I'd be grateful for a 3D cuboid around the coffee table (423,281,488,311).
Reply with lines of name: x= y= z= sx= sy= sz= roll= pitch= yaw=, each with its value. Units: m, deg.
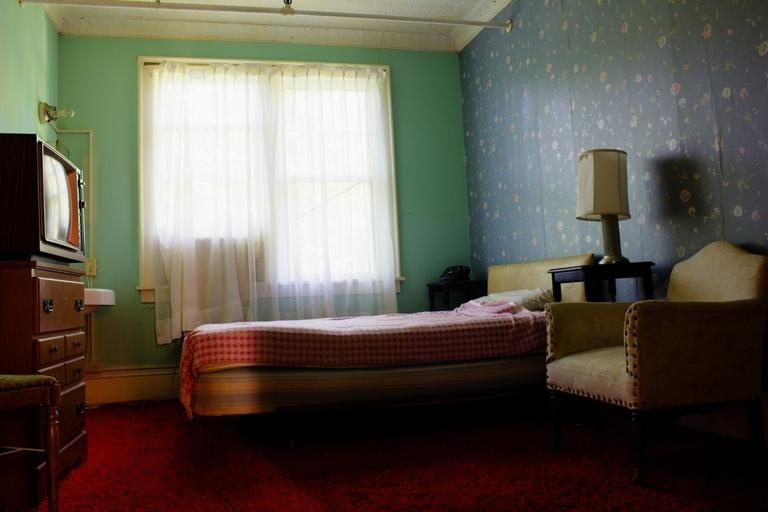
coffee table: x=0.779 y=0.394 z=6.580 sx=0.406 sy=0.438 sz=0.447 roll=1 pitch=-4 yaw=-18
